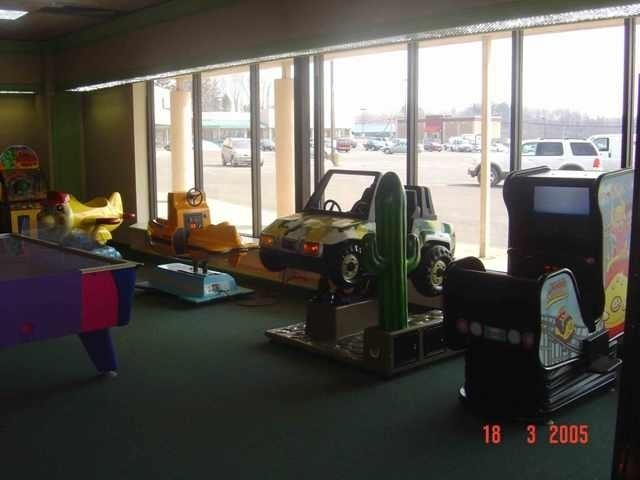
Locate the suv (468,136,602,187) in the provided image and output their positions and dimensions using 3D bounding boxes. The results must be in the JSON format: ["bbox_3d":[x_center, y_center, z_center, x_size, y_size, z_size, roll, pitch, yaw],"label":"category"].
[{"bbox_3d":[2.664,-1.209,6.671,1.829,0.793,0.842,5,11,19],"label":"suv"}]
